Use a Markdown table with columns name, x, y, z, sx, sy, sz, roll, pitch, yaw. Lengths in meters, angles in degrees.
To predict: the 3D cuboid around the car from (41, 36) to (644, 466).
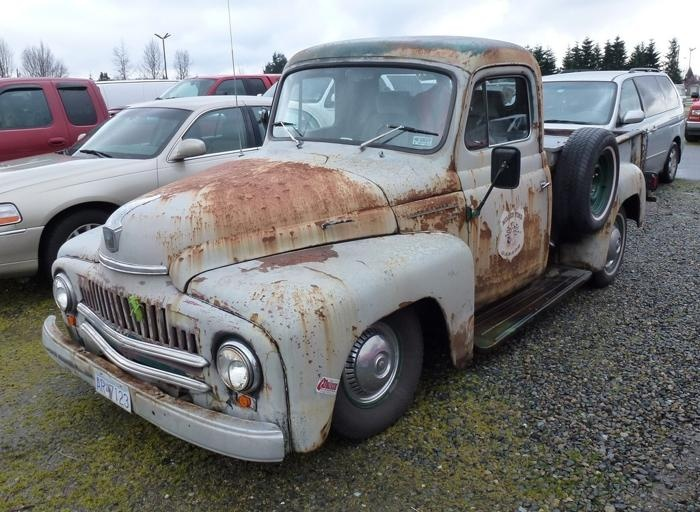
| name | x | y | z | sx | sy | sz | roll | pitch | yaw |
| --- | --- | --- | --- | --- | --- | --- | --- | --- | --- |
| car | 0.373 | -0.321 | 3.886 | 4.602 | 1.995 | 2.568 | -18 | 22 | -40 |
